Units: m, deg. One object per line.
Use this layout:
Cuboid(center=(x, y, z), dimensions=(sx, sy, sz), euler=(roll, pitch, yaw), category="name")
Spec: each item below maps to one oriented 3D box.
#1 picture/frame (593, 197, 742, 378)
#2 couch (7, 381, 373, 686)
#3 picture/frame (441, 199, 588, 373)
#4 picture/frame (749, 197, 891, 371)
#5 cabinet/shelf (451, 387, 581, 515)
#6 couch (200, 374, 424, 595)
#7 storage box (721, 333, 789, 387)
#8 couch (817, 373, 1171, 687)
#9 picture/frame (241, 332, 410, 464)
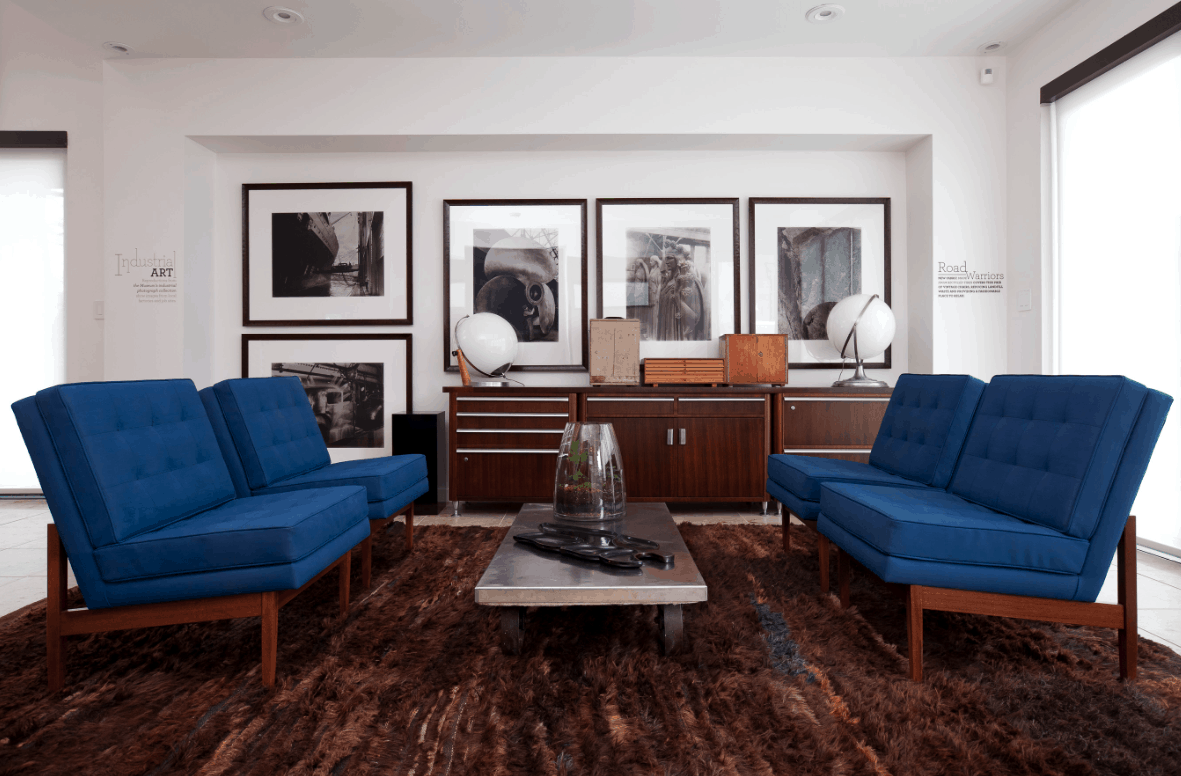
Cuboid(center=(0.636, -0.891, 6.483), dimensions=(1.441, 1.616, 0.080), euler=(0, 3, 0), category="picture/frame")
Cuboid(center=(-2.117, 0.687, 4.600), dimensions=(1.498, 1.645, 1.730), euler=(1, 0, -5), category="couch")
Cuboid(center=(-0.627, -0.863, 6.526), dimensions=(1.379, 1.765, 0.066), euler=(0, 1, 0), category="picture/frame")
Cuboid(center=(1.919, -0.847, 6.491), dimensions=(1.387, 1.745, 0.066), euler=(0, -2, -1), category="picture/frame")
Cuboid(center=(-0.582, 0.431, 6.448), dimensions=(1.336, 1.346, 0.794), euler=(0, -4, 0), category="cabinet/shelf")
Cuboid(center=(-1.678, 0.463, 5.228), dimensions=(1.188, 1.402, 1.000), euler=(-2, 1, 7), category="couch")
Cuboid(center=(1.340, -0.227, 6.226), dimensions=(0.408, 0.428, 0.447), euler=(0, -1, -7), category="storage box")
Cuboid(center=(2.100, 0.665, 4.665), dimensions=(1.447, 1.813, 1.885), euler=(0, -4, 0), category="couch")
Cuboid(center=(-2.018, 0.049, 5.991), dimensions=(1.028, 0.810, 0.046), euler=(0, -2, -2), category="picture/frame")
